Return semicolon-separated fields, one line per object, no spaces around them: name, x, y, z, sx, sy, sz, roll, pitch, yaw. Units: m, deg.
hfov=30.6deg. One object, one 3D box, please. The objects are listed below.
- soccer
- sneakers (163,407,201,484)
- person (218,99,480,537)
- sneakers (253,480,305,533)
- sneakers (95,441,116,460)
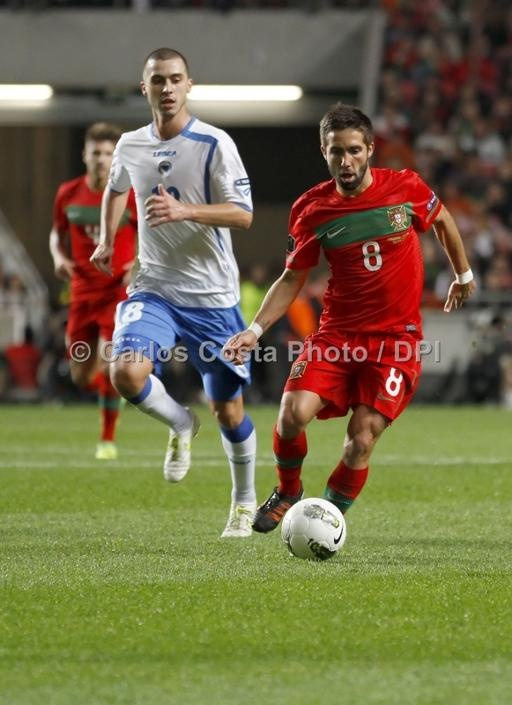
soccer;0.169;0.626;3.272;0.219;0.181;0.183;7;13;5
sneakers;-0.385;0.393;4.041;0.143;0.322;0.177;6;-5;24
person;0.347;-0.009;3.581;0.932;1.339;0.460;2;0;-1
sneakers;0.073;0.602;3.644;0.268;0.116;0.099;-37;36;-27
sneakers;-1.046;0.670;6.446;0.160;0.115;0.137;3;4;2
